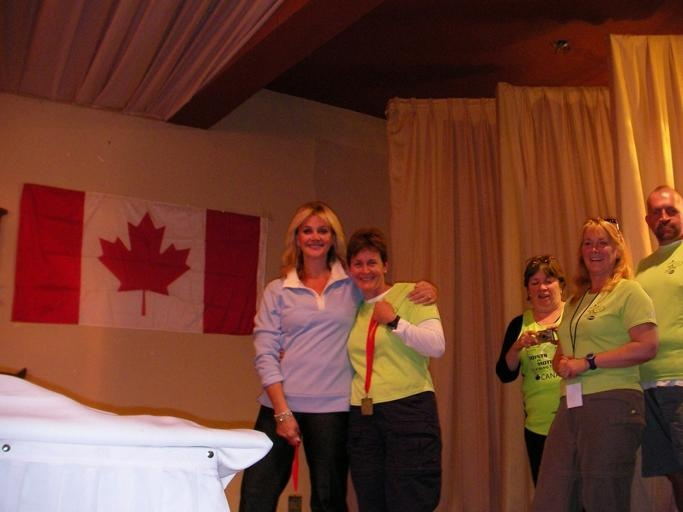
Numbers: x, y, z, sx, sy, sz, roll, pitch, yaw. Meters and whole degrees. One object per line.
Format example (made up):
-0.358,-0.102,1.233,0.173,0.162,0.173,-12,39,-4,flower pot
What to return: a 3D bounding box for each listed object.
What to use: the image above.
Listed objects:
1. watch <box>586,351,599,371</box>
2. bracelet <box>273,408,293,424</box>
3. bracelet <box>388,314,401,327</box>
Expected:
1.064,0.457,2.682,0.042,0.063,0.067,-10,21,5,watch
-0.252,0.688,2.660,0.065,0.035,0.050,-30,-4,-27,bracelet
0.223,0.284,2.649,0.031,0.052,0.030,15,9,-25,bracelet
